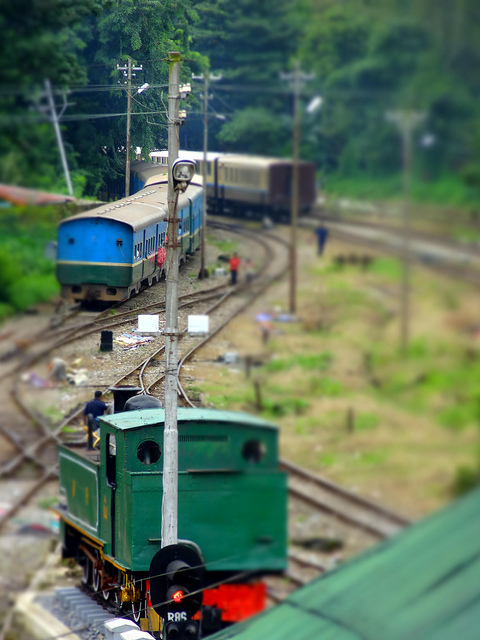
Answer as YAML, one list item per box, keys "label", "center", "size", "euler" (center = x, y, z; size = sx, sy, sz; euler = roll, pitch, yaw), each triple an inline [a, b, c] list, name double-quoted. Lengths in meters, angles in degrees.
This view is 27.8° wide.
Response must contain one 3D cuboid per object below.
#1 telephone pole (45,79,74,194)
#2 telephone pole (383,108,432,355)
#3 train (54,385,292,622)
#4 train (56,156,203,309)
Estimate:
- label: "telephone pole"
  center: [-2.289, -2.279, 12.288]
  size: [0.296, 1.420, 0.163]
  euler: [-2, 20, -9]
- label: "telephone pole"
  center: [1.933, -1.081, 11.450]
  size: [0.500, 2.644, 0.969]
  euler: [0, 19, -5]
- label: "train"
  center: [-0.880, 1.720, 10.987]
  size: [1.696, 1.691, 3.118]
  euler: [-1, 10, -17]
- label: "train"
  center: [-1.425, -1.257, 13.468]
  size: [0.950, 0.995, 3.460]
  euler: [3, 19, 8]
